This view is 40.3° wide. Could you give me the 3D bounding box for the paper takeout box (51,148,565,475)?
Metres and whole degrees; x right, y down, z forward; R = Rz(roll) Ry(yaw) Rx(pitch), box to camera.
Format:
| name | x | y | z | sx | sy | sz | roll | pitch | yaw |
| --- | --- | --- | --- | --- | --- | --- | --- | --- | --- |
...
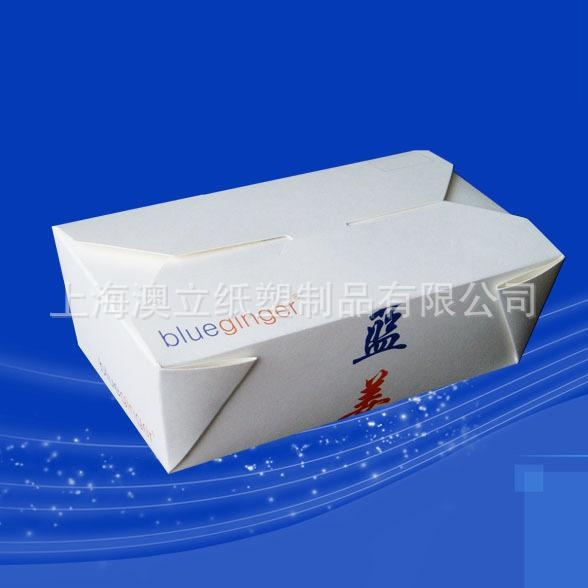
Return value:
| name | x | y | z | sx | sy | sz | roll | pitch | yaw |
| --- | --- | --- | --- | --- | --- | --- | --- | --- | --- |
| paper takeout box | 0.107 | 0.060 | 1.984 | 1.153 | 0.339 | 0.653 | -13 | 41 | -15 |
